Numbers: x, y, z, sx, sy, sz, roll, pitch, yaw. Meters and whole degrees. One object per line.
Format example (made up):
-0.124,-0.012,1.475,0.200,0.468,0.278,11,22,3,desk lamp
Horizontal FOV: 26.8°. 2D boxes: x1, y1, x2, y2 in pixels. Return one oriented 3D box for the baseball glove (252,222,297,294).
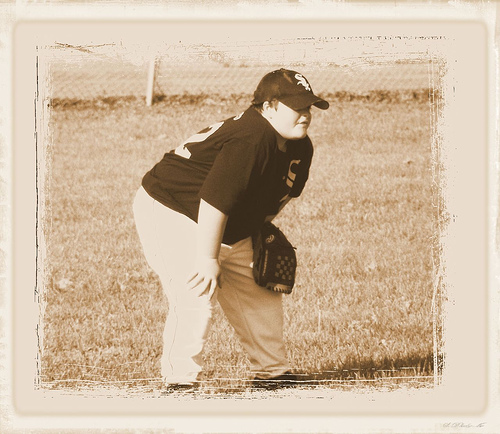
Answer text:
0.170,0.285,7.295,0.308,0.435,0.253,4,18,0,baseball glove
